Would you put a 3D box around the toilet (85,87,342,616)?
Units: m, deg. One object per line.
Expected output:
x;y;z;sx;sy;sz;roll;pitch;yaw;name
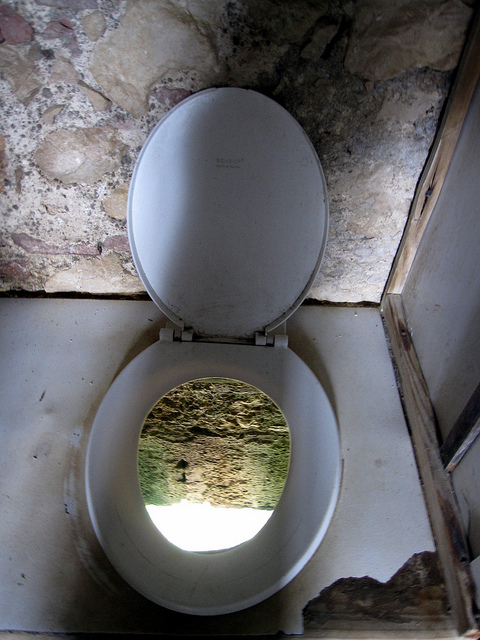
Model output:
-0.022;0.031;0.885;0.404;0.602;0.495;10;35;9;toilet
